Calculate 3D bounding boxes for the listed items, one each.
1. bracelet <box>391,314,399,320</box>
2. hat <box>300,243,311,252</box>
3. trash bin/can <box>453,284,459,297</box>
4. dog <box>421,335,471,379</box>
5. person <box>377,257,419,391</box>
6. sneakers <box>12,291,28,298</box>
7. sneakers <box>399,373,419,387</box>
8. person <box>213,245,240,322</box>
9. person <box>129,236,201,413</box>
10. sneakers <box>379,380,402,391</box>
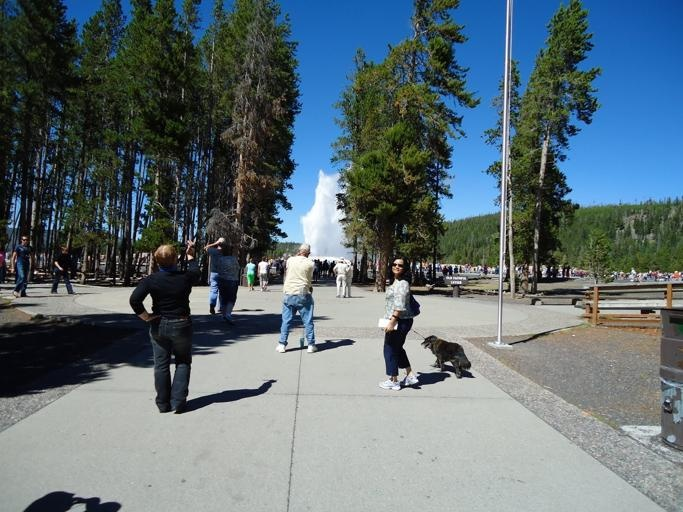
[{"bbox_3d":[0.853,0.956,6.851,0.142,0.095,0.057,1,-1,-38],"label":"bracelet"},{"bbox_3d":[-0.703,-0.173,8.137,0.148,0.203,0.199,3,6,0],"label":"hat"},{"bbox_3d":[7.027,2.093,26.569,0.325,0.707,0.556,0,-1,29],"label":"trash bin/can"},{"bbox_3d":[1.961,1.865,8.110,0.265,0.592,1.012,-2,13,-44],"label":"dog"},{"bbox_3d":[0.979,1.117,7.276,0.643,2.183,1.025,1,-1,11],"label":"person"},{"bbox_3d":[-12.177,1.413,16.132,0.641,0.303,0.240,1,-1,27],"label":"sneakers"},{"bbox_3d":[1.145,2.104,7.353,0.159,0.182,0.389,4,-5,-24],"label":"sneakers"},{"bbox_3d":[-3.099,0.707,11.719,0.535,2.189,1.225,1,-1,-16],"label":"person"},{"bbox_3d":[-2.527,1.003,6.101,0.764,1.719,0.554,1,-1,-24],"label":"person"},{"bbox_3d":[0.795,2.111,7.106,0.339,0.183,0.152,5,2,11],"label":"sneakers"}]
